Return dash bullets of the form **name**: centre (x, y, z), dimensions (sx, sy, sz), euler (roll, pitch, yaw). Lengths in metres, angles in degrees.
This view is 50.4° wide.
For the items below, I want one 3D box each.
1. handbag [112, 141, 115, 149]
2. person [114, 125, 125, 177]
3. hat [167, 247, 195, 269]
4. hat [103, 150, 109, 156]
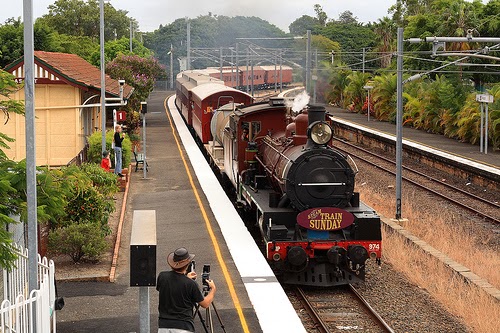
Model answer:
- **handbag**: centre (-5.927, -0.929, 23.148), dimensions (0.128, 0.490, 0.353), euler (2, 0, -19)
- **person**: centre (-5.705, -0.681, 23.114), dimensions (0.345, 2.207, 0.848), euler (-3, 8, -9)
- **hat**: centre (-1.267, 1.626, 9.765), dimensions (0.490, 0.214, 0.563), euler (4, 22, 18)
- **hat**: centre (-5.943, -0.569, 21.939), dimensions (0.161, 0.216, 0.213), euler (24, 46, 21)
